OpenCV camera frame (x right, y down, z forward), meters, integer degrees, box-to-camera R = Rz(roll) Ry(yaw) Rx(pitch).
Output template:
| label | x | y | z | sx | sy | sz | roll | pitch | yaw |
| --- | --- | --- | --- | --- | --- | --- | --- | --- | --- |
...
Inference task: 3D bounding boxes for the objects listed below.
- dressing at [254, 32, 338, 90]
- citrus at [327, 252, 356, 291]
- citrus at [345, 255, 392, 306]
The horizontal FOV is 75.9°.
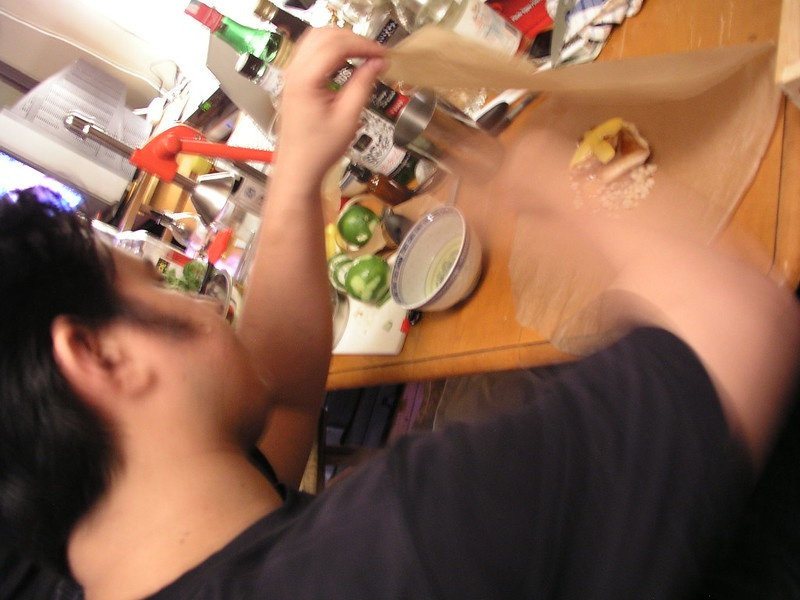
| label | x | y | z | sx | sy | sz | roll | pitch | yaw |
| --- | --- | --- | --- | --- | --- | --- | --- | --- | --- |
| dressing | -0.149 | -0.341 | 0.736 | 0.175 | 0.051 | 0.046 | -3 | 46 | -21 |
| citrus | -0.112 | -0.051 | 0.950 | 0.028 | 0.058 | 0.060 | 7 | 40 | -48 |
| citrus | -0.053 | -0.037 | 0.947 | 0.062 | 0.071 | 0.091 | -16 | 21 | 35 |
